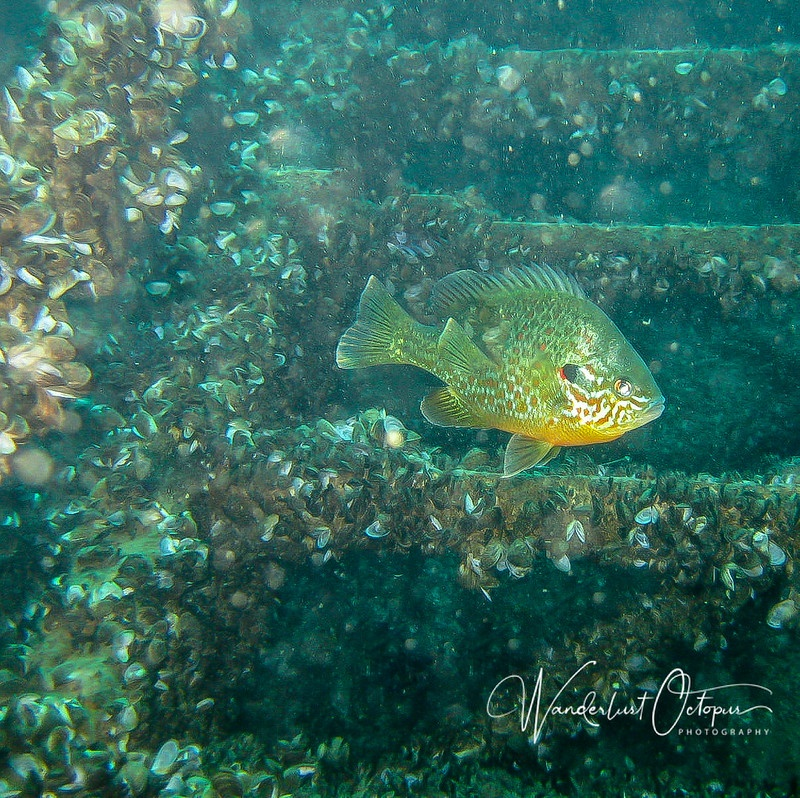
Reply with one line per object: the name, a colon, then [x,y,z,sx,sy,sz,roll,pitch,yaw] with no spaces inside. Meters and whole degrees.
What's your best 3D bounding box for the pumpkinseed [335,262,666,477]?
pumpkinseed: [0.633,-0.270,5.477,2.131,0.779,1.037,31,77,28]
